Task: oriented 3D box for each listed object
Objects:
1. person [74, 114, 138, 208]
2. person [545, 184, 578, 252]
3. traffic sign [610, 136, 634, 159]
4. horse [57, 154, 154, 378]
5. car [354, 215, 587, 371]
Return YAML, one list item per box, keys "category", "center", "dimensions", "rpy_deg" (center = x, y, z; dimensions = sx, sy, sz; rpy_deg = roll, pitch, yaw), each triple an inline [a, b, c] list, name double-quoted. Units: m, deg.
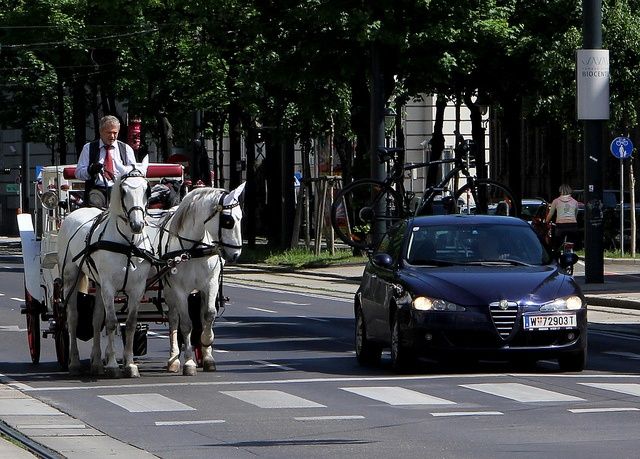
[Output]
- category: "person"
  center: [-3.306, -1.040, 21.252]
  dimensions: [0.767, 1.666, 0.535]
  rpy_deg: [-9, 14, -42]
- category: "person"
  center: [5.742, -0.135, 33.149]
  dimensions: [0.931, 1.958, 1.103]
  rpy_deg: [1, 3, 25]
- category: "traffic sign"
  center: [7.862, -2.215, 36.412]
  dimensions: [0.482, 0.562, 0.799]
  rpy_deg: [-1, 1, 15]
- category: "horse"
  center: [-3.104, 0.562, 20.633]
  dimensions: [0.815, 3.283, 1.904]
  rpy_deg: [-3, 2, -39]
- category: "car"
  center: [2.239, 0.954, 20.903]
  dimensions: [3.387, 2.397, 1.958]
  rpy_deg: [-1, 1, 14]
